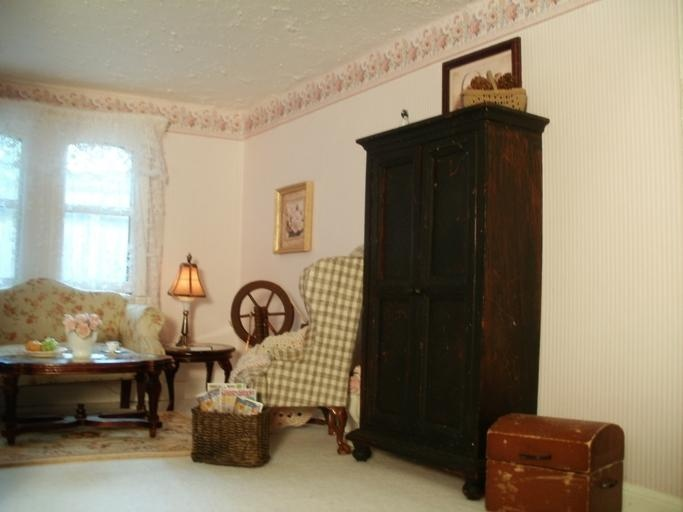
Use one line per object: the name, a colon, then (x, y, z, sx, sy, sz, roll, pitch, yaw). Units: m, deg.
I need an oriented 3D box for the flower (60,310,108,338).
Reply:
flower: (-2.019, 0.543, 4.416, 0.247, 0.160, 0.150, 2, -1, -12)

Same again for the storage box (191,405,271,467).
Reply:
storage box: (-0.746, 1.227, 3.896, 0.607, 0.393, 0.355, -1, -7, 19)

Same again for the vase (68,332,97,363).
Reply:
vase: (-2.013, 0.695, 4.396, 0.205, 0.232, 0.213, 4, 2, 43)

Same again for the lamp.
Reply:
lamp: (-1.623, 0.434, 6.005, 0.405, 0.685, 0.914, 2, -2, -16)

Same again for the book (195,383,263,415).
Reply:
book: (-0.783, 0.970, 3.807, 0.311, 0.242, 0.085, -1, -5, 8)

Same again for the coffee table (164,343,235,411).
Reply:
coffee table: (-1.433, 1.087, 5.705, 0.759, 0.802, 0.754, 2, -4, -15)

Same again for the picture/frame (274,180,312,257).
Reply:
picture/frame: (-0.487, -0.377, 5.795, 0.078, 0.730, 0.756, 4, -7, -29)

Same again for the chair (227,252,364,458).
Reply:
chair: (-0.137, 0.809, 4.586, 1.190, 1.569, 1.257, -11, -17, 42)

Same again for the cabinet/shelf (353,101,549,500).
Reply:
cabinet/shelf: (0.629, 0.253, 3.699, 1.129, 2.326, 0.584, 1, -1, 32)

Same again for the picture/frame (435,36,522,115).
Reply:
picture/frame: (1.016, -1.288, 4.207, 0.661, 0.472, 0.044, -19, 30, -10)

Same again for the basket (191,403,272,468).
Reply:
basket: (-0.749, 1.222, 3.894, 0.608, 0.395, 0.355, -1, -6, 18)
